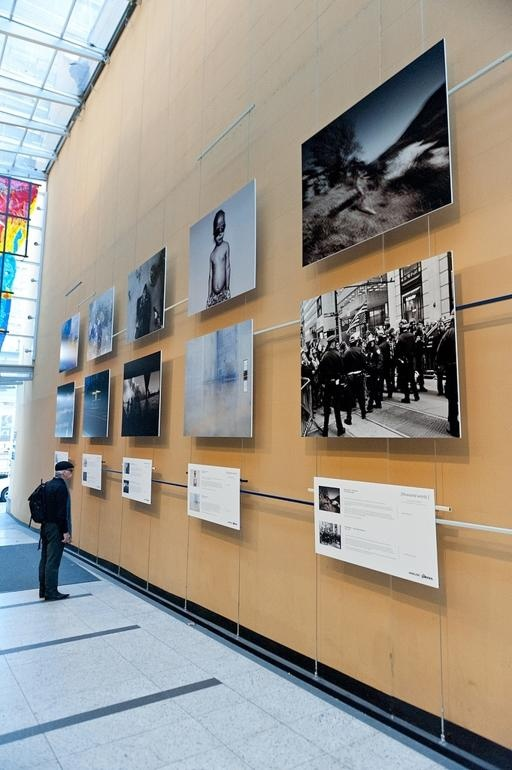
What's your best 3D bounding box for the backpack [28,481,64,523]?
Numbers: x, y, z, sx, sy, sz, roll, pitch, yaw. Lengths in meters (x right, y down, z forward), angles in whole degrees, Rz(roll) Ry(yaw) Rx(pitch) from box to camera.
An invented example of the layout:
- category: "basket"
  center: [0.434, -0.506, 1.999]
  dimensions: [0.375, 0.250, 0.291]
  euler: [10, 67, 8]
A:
- category: "backpack"
  center: [-2.804, 1.558, 6.299]
  dimensions: [0.394, 0.749, 0.637]
  euler: [7, -14, -29]
